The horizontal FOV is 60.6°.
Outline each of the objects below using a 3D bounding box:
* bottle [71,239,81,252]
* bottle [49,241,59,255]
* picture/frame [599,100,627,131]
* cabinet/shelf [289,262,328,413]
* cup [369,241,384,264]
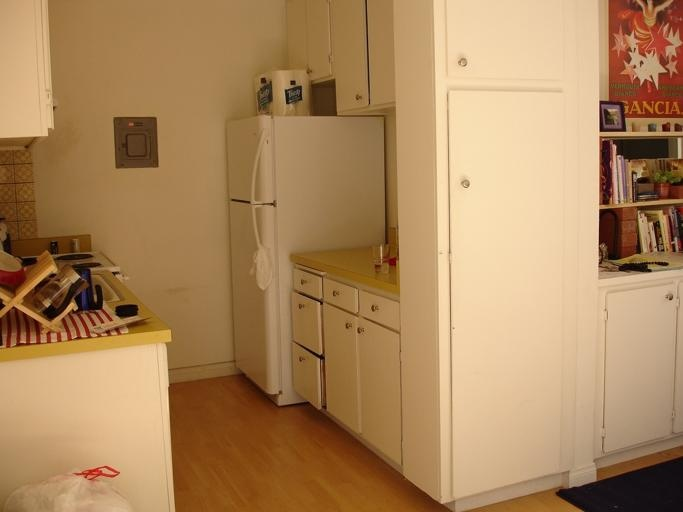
[{"bbox_3d":[-1.893,-0.078,4.164,0.045,0.098,0.097,-1,10,6],"label":"bottle"},{"bbox_3d":[-2.014,-0.065,4.066,0.057,0.089,0.084,-9,12,-31],"label":"bottle"},{"bbox_3d":[1.670,-0.858,3.578,0.262,0.279,0.020,-1,-7,-32],"label":"picture/frame"},{"bbox_3d":[-0.230,0.574,3.877,0.147,0.986,0.477,-5,10,-17],"label":"cabinet/shelf"},{"bbox_3d":[0.209,-0.020,3.419,0.088,0.159,0.098,-1,8,-1],"label":"cup"}]
